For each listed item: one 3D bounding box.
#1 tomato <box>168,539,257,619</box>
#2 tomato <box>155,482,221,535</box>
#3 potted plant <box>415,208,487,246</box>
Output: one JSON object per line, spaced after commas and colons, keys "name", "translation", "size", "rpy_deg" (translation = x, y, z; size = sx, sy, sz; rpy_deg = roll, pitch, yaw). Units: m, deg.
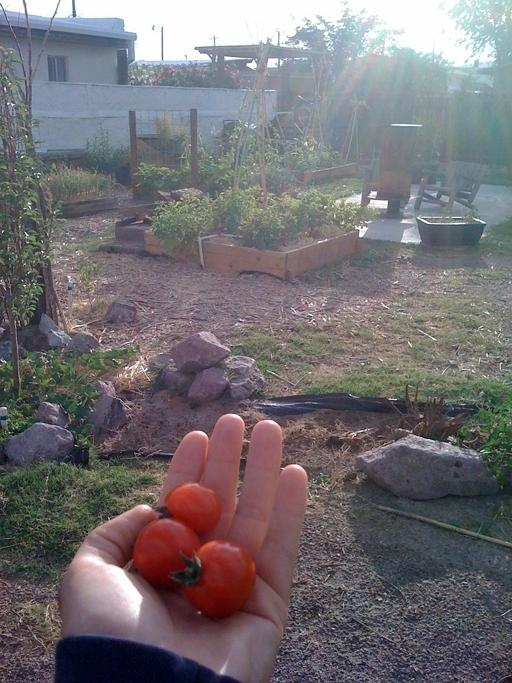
{"name": "tomato", "translation": [-0.132, 0.659, 1.565], "size": [0.224, 0.212, 0.222], "rpy_deg": [-32, -41, 33]}
{"name": "tomato", "translation": [-0.194, 0.545, 1.792], "size": [0.168, 0.164, 0.157], "rpy_deg": [-4, -11, 43]}
{"name": "potted plant", "translation": [3.410, -1.968, 9.809], "size": [1.070, 0.552, 1.068], "rpy_deg": [5, 14, 9]}
